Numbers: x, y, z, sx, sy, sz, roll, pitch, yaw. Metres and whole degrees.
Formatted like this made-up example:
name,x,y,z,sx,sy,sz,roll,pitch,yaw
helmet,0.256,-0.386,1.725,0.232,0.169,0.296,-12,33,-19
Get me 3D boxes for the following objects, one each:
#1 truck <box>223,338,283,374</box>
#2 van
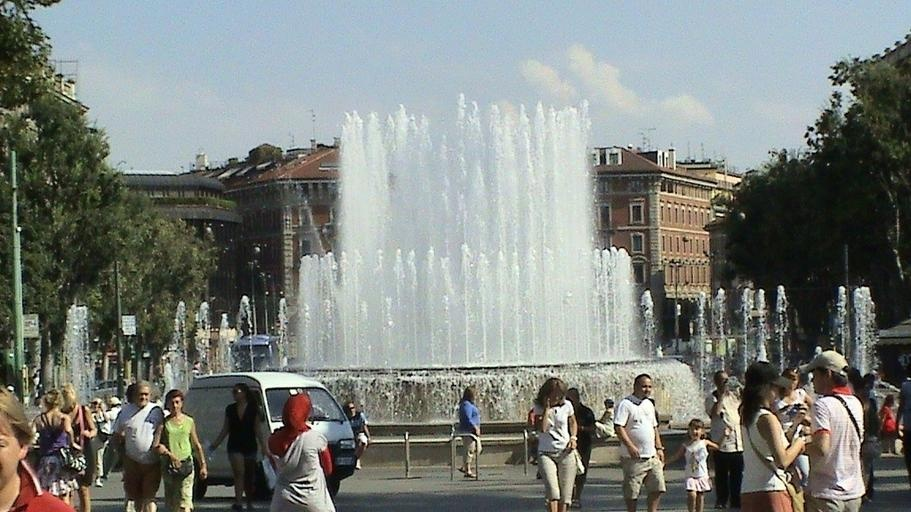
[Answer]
name,x,y,z,sx,sy,sz,roll,pitch,yaw
truck,-14.331,7.165,127.116,2.824,2.558,5.172,-3,8,-14
van,-8.053,7.100,73.910,7.700,4.349,4.355,1,0,45
